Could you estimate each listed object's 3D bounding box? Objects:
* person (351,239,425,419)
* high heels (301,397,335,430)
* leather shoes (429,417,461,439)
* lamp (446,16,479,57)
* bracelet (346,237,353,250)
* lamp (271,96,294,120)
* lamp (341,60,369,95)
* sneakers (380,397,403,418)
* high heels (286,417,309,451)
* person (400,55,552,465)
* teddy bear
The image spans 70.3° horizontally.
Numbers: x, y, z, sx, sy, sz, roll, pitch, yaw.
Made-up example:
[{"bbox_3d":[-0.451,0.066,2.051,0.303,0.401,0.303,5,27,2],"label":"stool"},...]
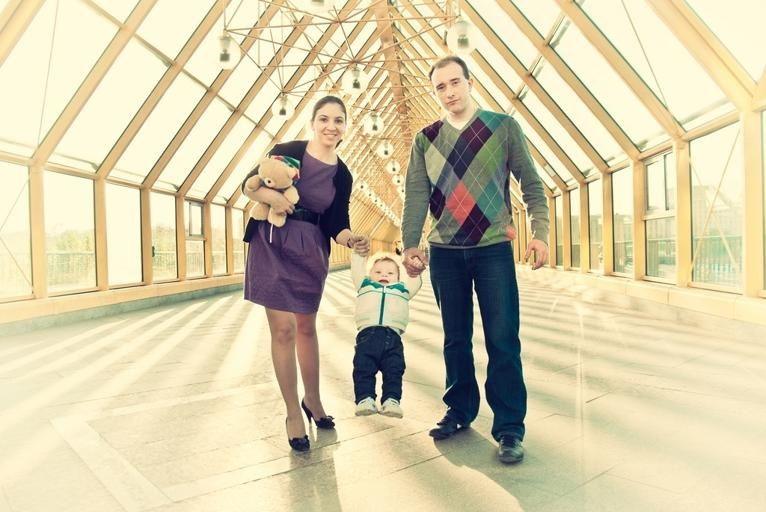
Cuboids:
[{"bbox_3d":[-0.023,0.578,4.487,0.663,1.527,0.557,13,-40,-13],"label":"person"},{"bbox_3d":[-0.591,1.364,4.713,0.398,0.190,0.137,-1,-1,44],"label":"high heels"},{"bbox_3d":[0.505,1.395,4.445,0.270,0.126,0.114,3,0,-35],"label":"leather shoes"},{"bbox_3d":[1.258,-3.266,8.055,0.326,0.525,0.334,19,4,11],"label":"lamp"},{"bbox_3d":[-0.281,-0.114,4.618,0.058,0.071,0.068,0,-12,4],"label":"bracelet"},{"bbox_3d":[-1.958,-2.929,10.716,0.419,0.586,0.430,0,1,-6],"label":"lamp"},{"bbox_3d":[-0.470,-3.063,9.360,0.364,0.563,0.882,-1,11,1],"label":"lamp"},{"bbox_3d":[0.069,1.179,4.226,0.096,0.100,0.199,3,1,-3],"label":"sneakers"},{"bbox_3d":[-0.667,1.466,4.296,0.168,0.121,0.110,-3,11,-6],"label":"high heels"},{"bbox_3d":[0.709,0.104,4.367,1.157,2.699,0.860,2,10,17],"label":"person"},{"bbox_3d":[-0.912,-0.531,4.465,0.431,0.567,0.238,2,10,19],"label":"teddy bear"}]
